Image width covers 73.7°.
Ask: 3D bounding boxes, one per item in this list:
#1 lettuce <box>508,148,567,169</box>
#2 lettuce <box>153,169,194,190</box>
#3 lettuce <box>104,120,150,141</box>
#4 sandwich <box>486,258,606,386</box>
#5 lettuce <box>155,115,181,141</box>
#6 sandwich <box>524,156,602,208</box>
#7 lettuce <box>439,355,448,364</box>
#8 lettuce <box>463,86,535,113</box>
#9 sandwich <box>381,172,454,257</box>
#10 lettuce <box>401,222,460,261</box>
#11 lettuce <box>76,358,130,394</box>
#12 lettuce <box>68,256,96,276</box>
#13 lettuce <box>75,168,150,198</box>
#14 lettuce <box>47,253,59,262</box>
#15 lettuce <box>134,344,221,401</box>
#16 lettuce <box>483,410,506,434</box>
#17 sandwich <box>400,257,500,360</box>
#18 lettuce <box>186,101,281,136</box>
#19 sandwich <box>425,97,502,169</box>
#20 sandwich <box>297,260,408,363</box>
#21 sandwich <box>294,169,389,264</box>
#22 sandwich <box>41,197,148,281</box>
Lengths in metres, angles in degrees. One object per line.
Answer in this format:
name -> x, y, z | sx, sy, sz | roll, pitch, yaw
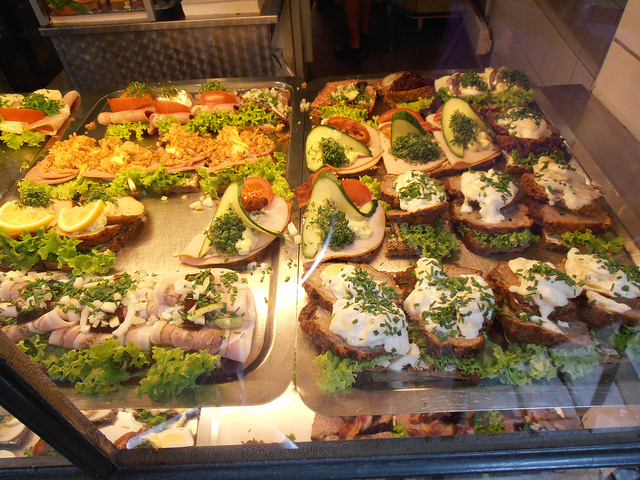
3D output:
lettuce -> 1.333, -0.496, 2.648 | 0.154, 0.041, 0.162 | 24, 49, 38
lettuce -> -1.057, -0.436, 3.083 | 0.177, 0.082, 0.180 | 21, 40, 32
lettuce -> -1.552, -0.868, 3.454 | 0.353, 0.111, 0.200 | -11, 51, -8
sandwich -> 1.123, 0.349, 2.160 | 0.526, 0.285, 0.814 | 2, 29, 21
lettuce -> -1.231, -0.907, 3.468 | 0.182, 0.193, 0.083 | -12, 4, -4
sandwich -> 1.458, -0.362, 2.573 | 0.416, 0.116, 0.475 | -7, 47, 19
lettuce -> 0.597, 0.585, 2.081 | 0.013, 0.029, 0.040 | -50, 64, 17
lettuce -> 1.167, -0.913, 2.843 | 0.288, 0.163, 0.353 | -5, 30, 0
sandwich -> 0.620, -0.209, 2.741 | 0.472, 0.254, 0.776 | 9, 40, -4
lettuce -> 0.653, -0.036, 2.658 | 0.340, 0.206, 0.334 | -15, 26, -28
lettuce -> -1.069, 0.673, 2.091 | 0.155, 0.080, 0.194 | -3, 33, 20
lettuce -> -1.432, 0.162, 2.571 | 0.125, 0.055, 0.105 | -13, 51, -9
lettuce -> -1.459, -0.391, 3.006 | 0.314, 0.093, 0.228 | -6, 26, -5
lettuce -> -1.638, 0.112, 2.624 | 0.053, 0.019, 0.053 | -1, 84, -22
lettuce -> -0.678, 0.658, 2.080 | 0.349, 0.087, 0.243 | 1, 50, 3
lettuce -> 0.743, 0.780, 1.839 | 0.061, 0.069, 0.049 | -10, 78, 2
sandwich -> 0.641, 0.336, 2.194 | 0.446, 0.178, 0.595 | 8, 40, 5
lettuce -> -0.846, -0.980, 3.529 | 0.586, 0.165, 0.245 | -10, 11, -3
sandwich -> 0.982, -0.867, 3.132 | 0.451, 0.688, 0.222 | -2, 86, 12
sandwich -> 0.185, 0.337, 2.230 | 0.588, 0.209, 0.690 | -10, 34, -14
sandwich -> 0.141, -0.093, 2.594 | 0.576, 0.194, 0.546 | 4, 69, -7
sandwich -> -1.472, -0.104, 2.819 | 0.486, 0.242, 0.720 | 8, 37, 5
